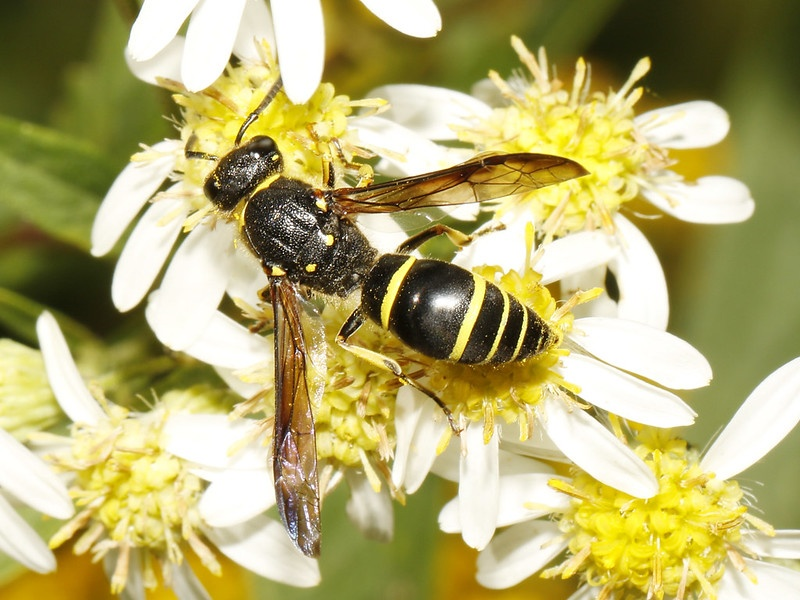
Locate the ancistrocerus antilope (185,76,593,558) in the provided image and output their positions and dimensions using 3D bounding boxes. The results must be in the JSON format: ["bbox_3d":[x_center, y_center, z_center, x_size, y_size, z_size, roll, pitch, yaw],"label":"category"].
[{"bbox_3d":[-0.039,-0.133,1.835,0.841,0.280,0.883,-29,81,-2],"label":"ancistrocerus antilope"}]
